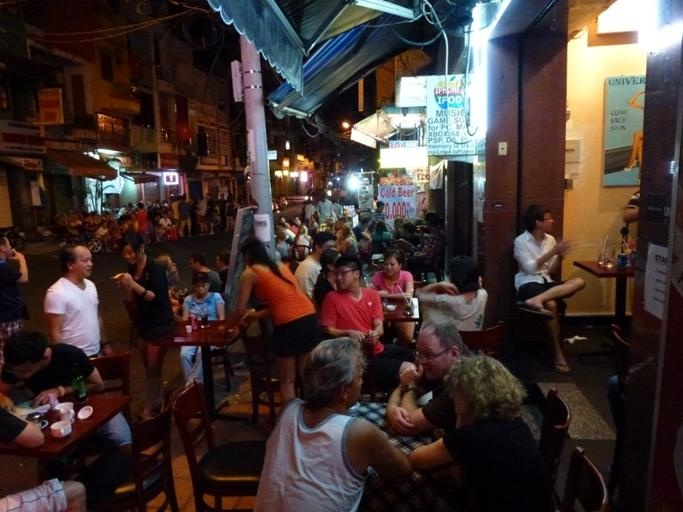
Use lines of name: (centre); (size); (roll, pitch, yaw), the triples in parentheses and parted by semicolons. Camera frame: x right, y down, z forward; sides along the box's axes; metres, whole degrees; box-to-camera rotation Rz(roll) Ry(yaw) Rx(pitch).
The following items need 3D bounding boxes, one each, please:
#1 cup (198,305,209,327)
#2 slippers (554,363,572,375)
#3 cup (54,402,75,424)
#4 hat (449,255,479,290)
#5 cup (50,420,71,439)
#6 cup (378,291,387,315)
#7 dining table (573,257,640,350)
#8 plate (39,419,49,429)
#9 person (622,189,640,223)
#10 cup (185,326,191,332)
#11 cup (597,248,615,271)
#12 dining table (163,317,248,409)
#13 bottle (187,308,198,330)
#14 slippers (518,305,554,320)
cup: (-1.767, 0.775, 6.709); (0.123, 0.215, 0.126); (2, 20, -1)
slippers: (2.869, 1.462, 6.828); (0.161, 0.066, 0.095); (1, 12, 26)
cup: (-2.321, 1.282, 4.399); (0.134, 0.156, 0.174); (1, 11, -14)
hat: (1.335, 0.213, 5.841); (0.297, 0.371, 0.346); (-12, -3, -1)
cup: (-2.231, 1.359, 4.176); (0.128, 0.096, 0.114); (-3, 13, -19)
cup: (0.540, 0.586, 6.881); (0.192, 0.238, 0.200); (-1, 0, 0)
dining table: (3.773, 0.685, 7.524); (0.648, 1.233, 1.393); (2, 9, 27)
plate: (-2.454, 1.375, 4.330); (0.037, 0.043, 0.108); (18, 13, -18)
person: (4.176, -0.646, 7.588); (0.183, 0.461, 1.020); (2, 9, 27)
cup: (-1.836, 0.874, 6.286); (0.065, 0.081, 0.069); (0, 13, 0)
cup: (3.821, 0.072, 7.584); (0.227, 0.291, 0.242); (-1, 11, 0)
dining table: (-1.522, 1.151, 6.367); (0.911, 0.982, 0.986); (1, 28, 1)
bottle: (-1.875, 0.804, 6.598); (0.077, 0.139, 0.110); (-14, 13, 5)
slippers: (2.605, 0.779, 7.066); (0.403, 0.146, 0.191); (9, 47, 43)
